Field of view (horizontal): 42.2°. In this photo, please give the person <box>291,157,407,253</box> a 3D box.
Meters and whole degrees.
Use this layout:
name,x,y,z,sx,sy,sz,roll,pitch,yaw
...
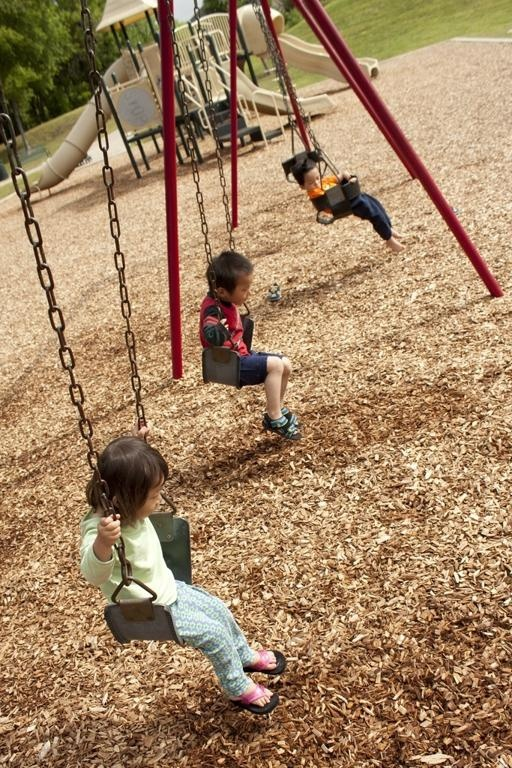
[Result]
name,x,y,z,sx,sy,sz,roll,pitch,yaw
person,0.585,-1.120,4.169,0.817,0.266,0.331,39,42,1

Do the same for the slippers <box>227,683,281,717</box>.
name,x,y,z,sx,sy,sz,roll,pitch,yaw
slippers,-0.006,0.791,1.679,0.127,0.038,0.071,0,17,45

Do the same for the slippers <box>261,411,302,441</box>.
name,x,y,z,sx,sy,sz,roll,pitch,yaw
slippers,0.103,0.173,2.852,0.164,0.068,0.088,25,37,15

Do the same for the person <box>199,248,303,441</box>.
name,x,y,z,sx,sy,sz,roll,pitch,yaw
person,-0.040,-0.137,2.752,0.342,0.817,0.462,-11,23,-4

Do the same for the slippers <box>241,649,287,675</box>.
name,x,y,z,sx,sy,sz,roll,pitch,yaw
slippers,0.029,0.749,1.777,0.126,0.054,0.030,3,-29,-31
